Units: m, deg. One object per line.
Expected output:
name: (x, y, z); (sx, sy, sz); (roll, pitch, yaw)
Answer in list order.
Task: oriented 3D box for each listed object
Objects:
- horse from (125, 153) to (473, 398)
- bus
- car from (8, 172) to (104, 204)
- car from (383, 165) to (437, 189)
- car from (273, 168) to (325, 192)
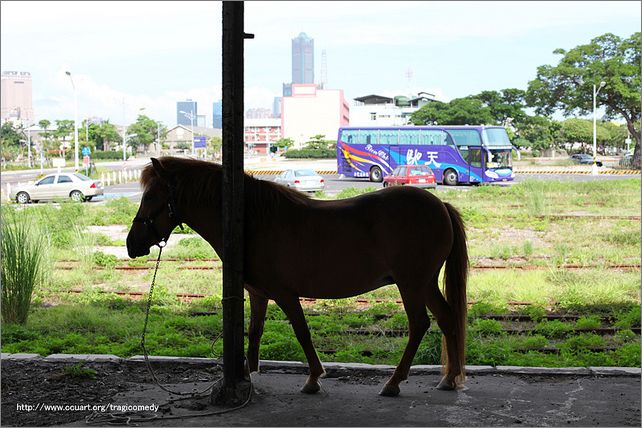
horse: (-0.517, 1.216, 12.736); (5.956, 3.684, 1.736); (1, 2, 6)
bus: (5.941, -3.414, 43.445); (11.053, 3.189, 3.098); (6, 7, 41)
car: (-12.688, -1.199, 35.041); (4.375, 1.266, 1.766); (1, 2, 7)
car: (4.174, -1.887, 37.298); (2.031, 1.322, 3.070); (-3, 8, -32)
car: (-0.928, -1.631, 35.502); (1.282, 0.927, 2.829); (-4, 10, -26)
